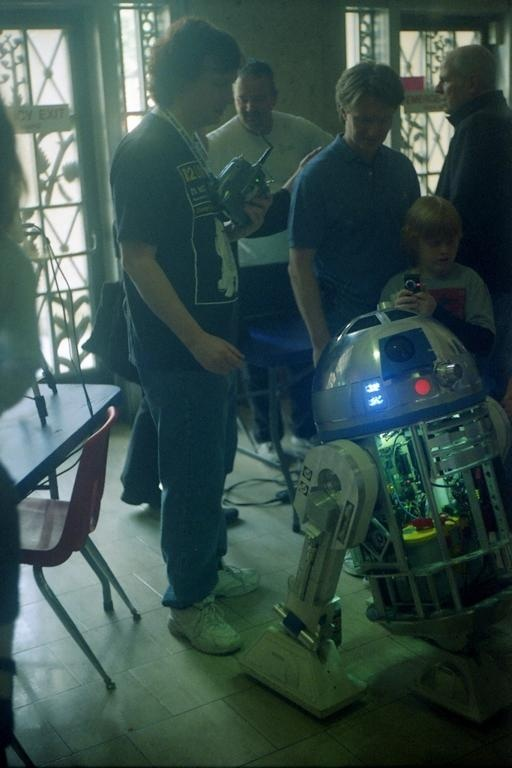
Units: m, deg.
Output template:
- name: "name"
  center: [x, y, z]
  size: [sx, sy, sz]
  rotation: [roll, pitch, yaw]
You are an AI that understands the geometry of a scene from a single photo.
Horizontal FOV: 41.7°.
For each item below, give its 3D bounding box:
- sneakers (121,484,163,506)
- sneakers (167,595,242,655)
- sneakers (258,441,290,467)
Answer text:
- name: "sneakers"
  center: [-0.422, 0.425, 2.572]
  size: [0.168, 0.067, 0.142]
  rotation: [3, 8, 2]
- name: "sneakers"
  center: [-0.120, 0.606, 1.738]
  size: [0.185, 0.149, 0.095]
  rotation: [14, 12, 26]
- name: "sneakers"
  center: [0.074, 0.299, 3.073]
  size: [0.096, 0.051, 0.181]
  rotation: [-24, 17, -16]
